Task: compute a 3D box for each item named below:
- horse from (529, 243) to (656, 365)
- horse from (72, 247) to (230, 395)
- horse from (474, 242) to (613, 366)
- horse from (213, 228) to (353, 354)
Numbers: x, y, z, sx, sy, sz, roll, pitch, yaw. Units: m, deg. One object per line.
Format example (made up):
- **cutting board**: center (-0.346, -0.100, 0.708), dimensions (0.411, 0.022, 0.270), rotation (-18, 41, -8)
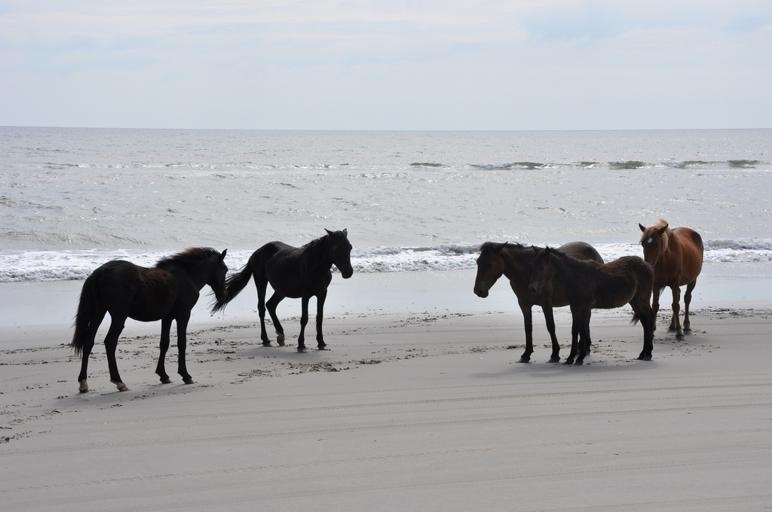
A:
- **horse**: center (4.071, 0.939, 20.525), dimensions (3.153, 2.072, 0.820), rotation (1, 1, -27)
- **horse**: center (-4.250, 1.069, 19.672), dimensions (0.994, 2.562, 3.820), rotation (-5, -5, 36)
- **horse**: center (3.244, 0.836, 21.082), dimensions (4.065, 2.313, 1.080), rotation (-3, 0, -43)
- **horse**: center (-1.960, 0.632, 22.162), dimensions (2.626, 2.391, 1.103), rotation (3, 7, 38)
